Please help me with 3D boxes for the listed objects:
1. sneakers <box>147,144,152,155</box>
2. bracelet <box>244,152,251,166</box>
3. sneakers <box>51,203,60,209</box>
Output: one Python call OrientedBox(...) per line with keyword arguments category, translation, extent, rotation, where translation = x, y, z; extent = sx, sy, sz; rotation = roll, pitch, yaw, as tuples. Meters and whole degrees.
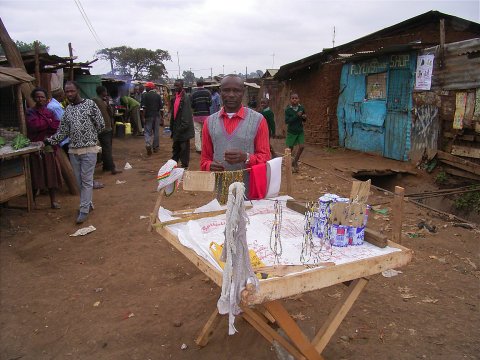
OrientedBox(category="sneakers", translation=(-3.003, -1.007, 10.991), extent=(0.138, 0.358, 0.146), rotation=(2, 49, -16))
OrientedBox(category="bracelet", translation=(0.063, -0.207, 3.385), extent=(0.077, 0.116, 0.111), rotation=(2, 20, -4))
OrientedBox(category="sneakers", translation=(-3.692, 0.500, 6.644), extent=(0.104, 0.111, 0.303), rotation=(-4, -1, -41))
